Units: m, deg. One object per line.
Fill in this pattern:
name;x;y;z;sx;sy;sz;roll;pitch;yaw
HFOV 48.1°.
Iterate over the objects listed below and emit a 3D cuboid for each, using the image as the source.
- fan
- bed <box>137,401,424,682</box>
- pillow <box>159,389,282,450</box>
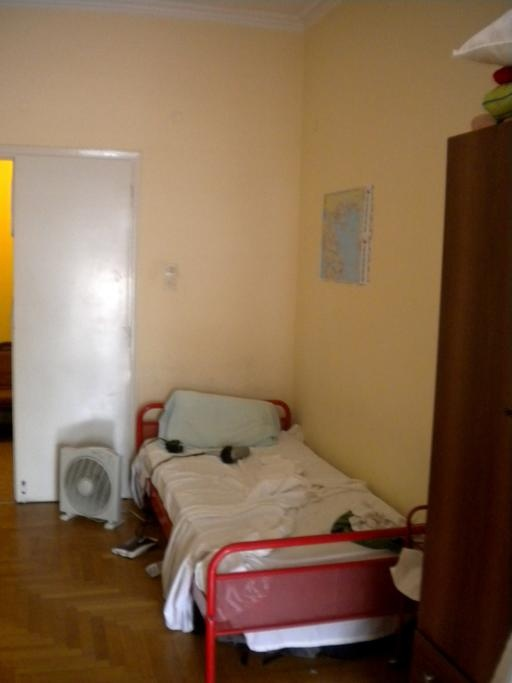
fan;-0.954;0.830;3.340;0.376;0.449;0.170;6;8;12
bed;0.020;0.872;2.579;0.927;0.561;1.392;0;5;-20
pillow;-0.230;0.469;3.484;0.583;0.381;0.201;8;-17;-3
